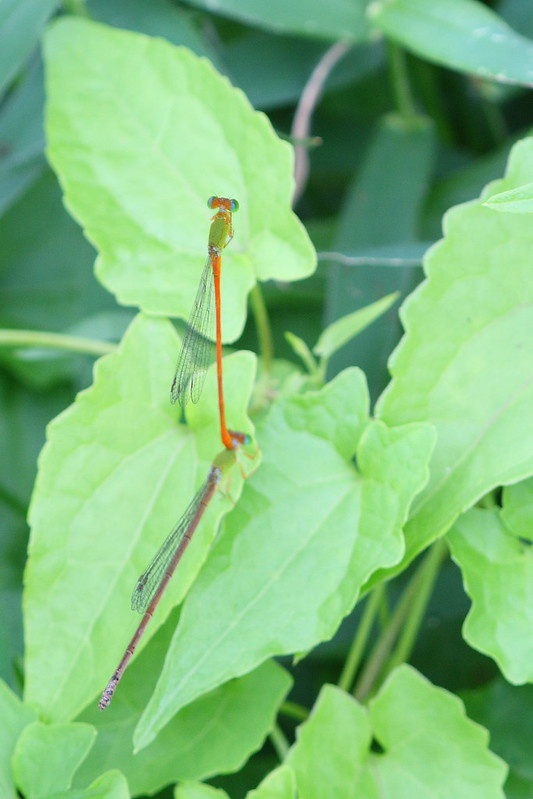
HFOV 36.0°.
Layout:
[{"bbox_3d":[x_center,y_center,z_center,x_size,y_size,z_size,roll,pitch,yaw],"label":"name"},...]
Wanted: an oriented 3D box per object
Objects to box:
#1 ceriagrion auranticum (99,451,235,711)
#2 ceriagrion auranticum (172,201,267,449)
[{"bbox_3d":[-0.041,0.071,0.336,0.024,0.023,0.117,27,77,11],"label":"ceriagrion auranticum"},{"bbox_3d":[-0.023,-0.030,0.358,0.035,0.014,0.104,4,87,14],"label":"ceriagrion auranticum"}]
